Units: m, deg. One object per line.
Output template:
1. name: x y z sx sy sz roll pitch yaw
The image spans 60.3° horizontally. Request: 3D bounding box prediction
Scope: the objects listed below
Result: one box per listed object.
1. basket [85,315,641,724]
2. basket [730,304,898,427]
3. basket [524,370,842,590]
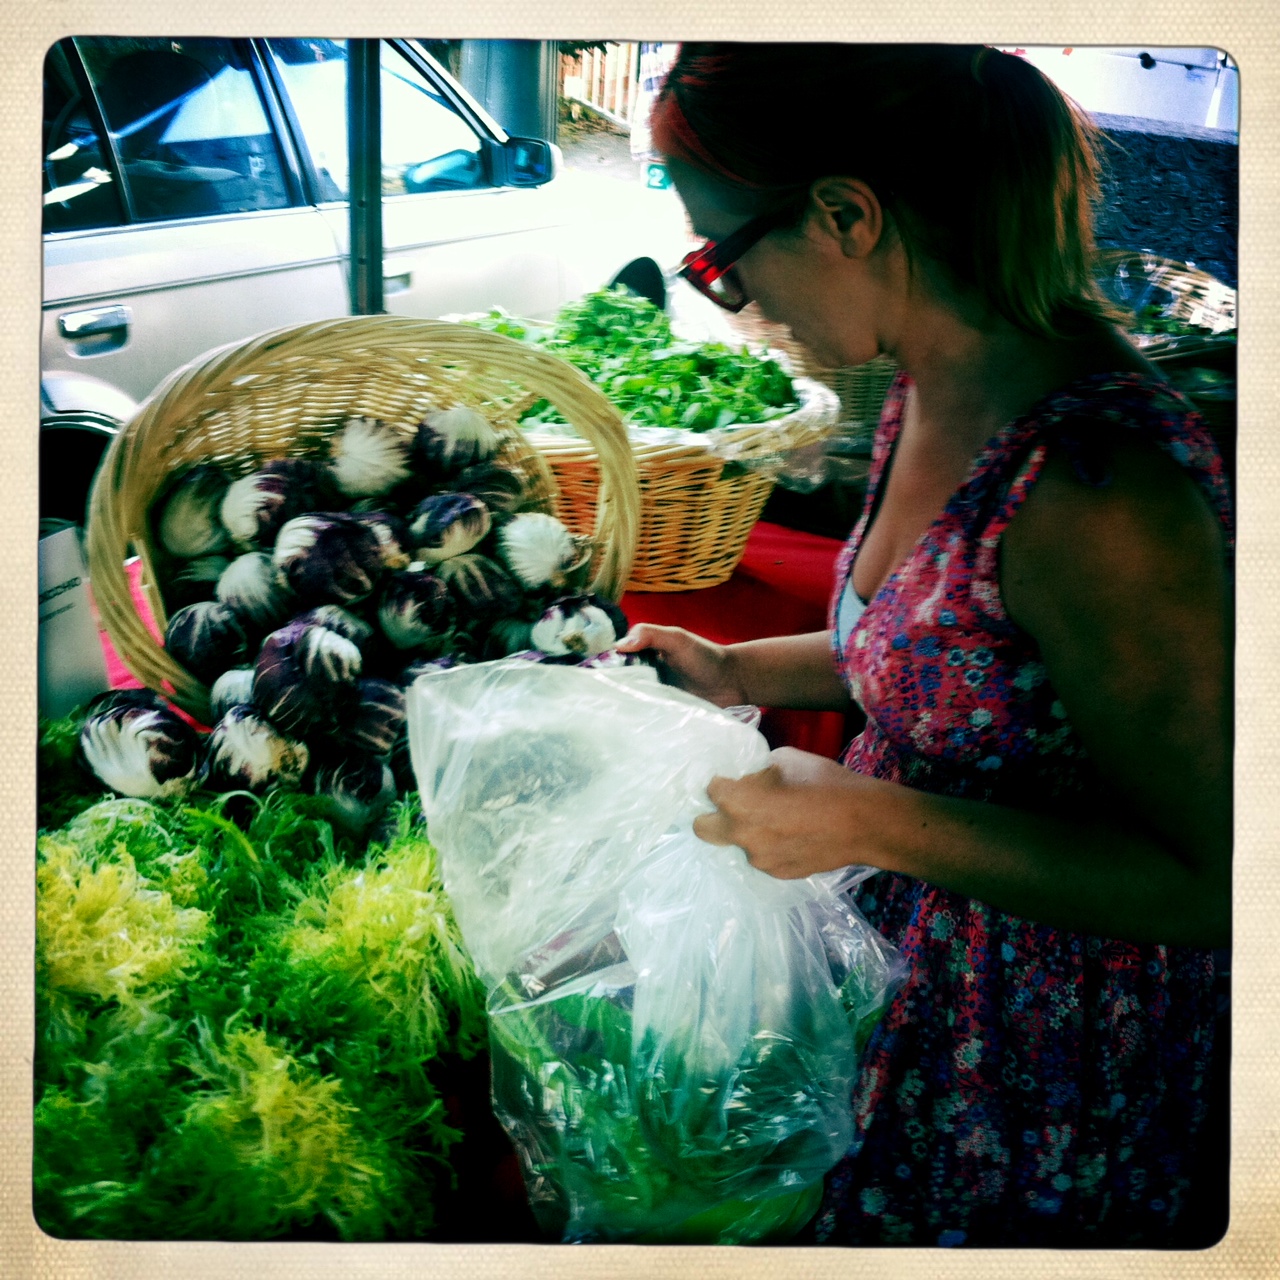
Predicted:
1. basket: -0.302 -0.122 1.269 0.531 0.185 0.454 -19 55 -16
2. basket: 0.186 -0.299 1.208 0.150 0.054 0.117 0 19 -22
3. basket: 0.085 -0.155 1.382 0.408 0.170 0.383 -2 4 18
